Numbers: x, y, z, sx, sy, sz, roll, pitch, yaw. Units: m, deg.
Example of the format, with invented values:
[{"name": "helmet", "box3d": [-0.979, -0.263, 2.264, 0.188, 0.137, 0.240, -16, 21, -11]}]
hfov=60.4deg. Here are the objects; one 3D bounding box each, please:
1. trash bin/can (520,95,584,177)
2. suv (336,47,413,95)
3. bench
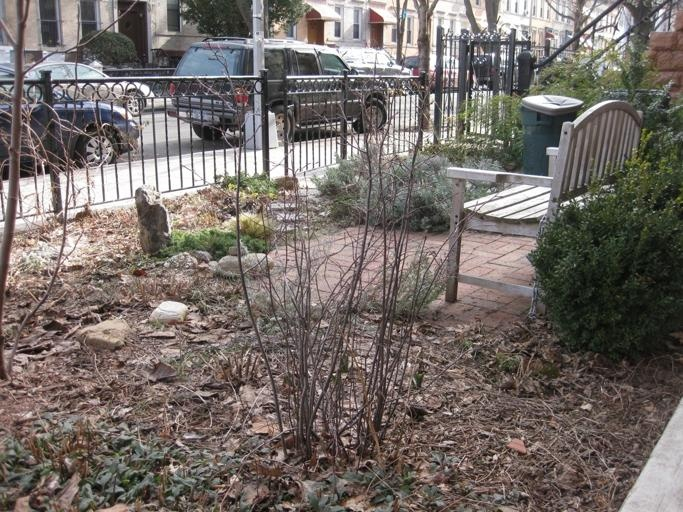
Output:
[{"name": "trash bin/can", "box3d": [2.882, -1.684, 8.087, 0.619, 0.854, 0.646, 9, 18, 19]}, {"name": "suv", "box3d": [0.839, -5.421, 17.156, 2.749, 1.254, 1.279, -10, 25, -28]}, {"name": "bench", "box3d": [1.902, -0.564, 5.170, 0.824, 1.693, 2.340, 14, 20, 36]}]
